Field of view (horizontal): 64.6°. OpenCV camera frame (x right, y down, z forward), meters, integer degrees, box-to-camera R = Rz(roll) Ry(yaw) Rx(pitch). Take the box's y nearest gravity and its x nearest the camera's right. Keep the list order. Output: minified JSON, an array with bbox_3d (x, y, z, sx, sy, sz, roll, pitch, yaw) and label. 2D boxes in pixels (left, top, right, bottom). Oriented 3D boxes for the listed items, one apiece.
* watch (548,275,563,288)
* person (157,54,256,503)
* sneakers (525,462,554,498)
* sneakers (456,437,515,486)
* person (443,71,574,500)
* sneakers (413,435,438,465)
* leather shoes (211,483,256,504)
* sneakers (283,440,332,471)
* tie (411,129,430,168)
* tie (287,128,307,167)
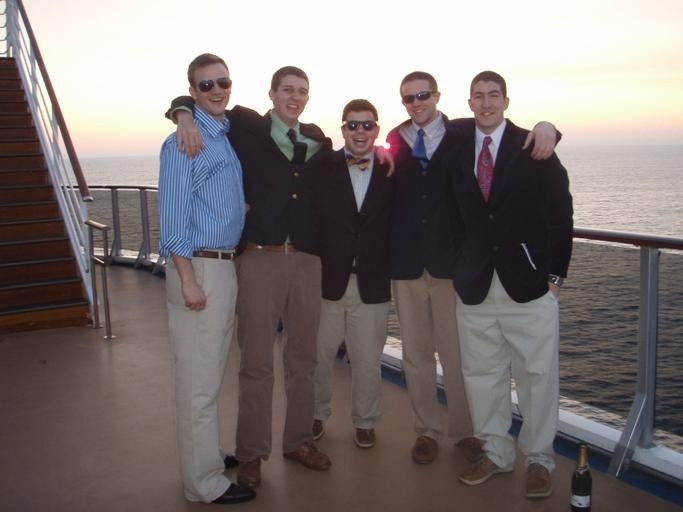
[{"bbox_3d":[1.136,0.130,2.903,0.067,0.049,0.055,14,1,9],"label":"watch"},{"bbox_3d":[-0.694,0.147,2.783,0.413,2.300,0.394,-4,11,-12],"label":"person"},{"bbox_3d":[1.035,1.195,2.853,0.098,0.092,0.189,0,32,9],"label":"sneakers"},{"bbox_3d":[0.831,1.174,3.122,0.400,0.206,0.144,-3,0,-31],"label":"sneakers"},{"bbox_3d":[0.883,0.119,2.961,0.660,2.218,0.543,4,12,24],"label":"person"},{"bbox_3d":[0.510,1.153,3.227,0.203,0.100,0.147,-5,13,-15],"label":"sneakers"},{"bbox_3d":[-0.578,1.250,2.892,0.232,0.104,0.090,-4,19,-15],"label":"leather shoes"},{"bbox_3d":[-0.201,1.157,3.204,0.289,0.138,0.126,11,28,23],"label":"sneakers"},{"bbox_3d":[0.458,-0.635,3.189,0.095,0.235,0.110,-1,11,3],"label":"tie"},{"bbox_3d":[-0.246,-0.597,2.995,0.120,0.184,0.059,-6,4,-18],"label":"tie"}]
